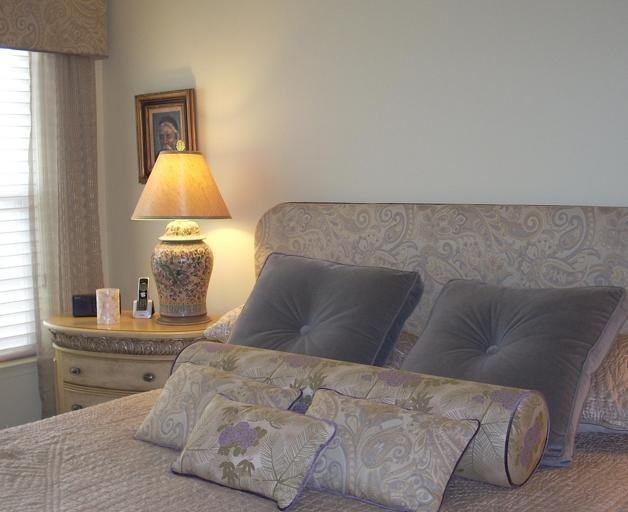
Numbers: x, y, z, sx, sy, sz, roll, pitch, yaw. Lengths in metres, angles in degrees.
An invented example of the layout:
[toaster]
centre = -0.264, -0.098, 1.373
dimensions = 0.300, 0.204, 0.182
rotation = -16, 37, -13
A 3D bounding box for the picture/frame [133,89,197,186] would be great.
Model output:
[picture/frame]
centre = -0.835, -0.689, 2.923
dimensions = 0.610, 0.762, 0.059
rotation = 3, 6, 39

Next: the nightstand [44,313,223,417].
[nightstand]
centre = -0.793, 0.470, 2.257
dimensions = 0.479, 0.494, 0.216
rotation = 2, 5, 19

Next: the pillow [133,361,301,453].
[pillow]
centre = -0.306, 0.481, 1.544
dimensions = 0.396, 0.121, 0.236
rotation = 0, 51, 45

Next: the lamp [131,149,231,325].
[lamp]
centre = -0.699, -0.096, 2.729
dimensions = 0.488, 0.870, 0.494
rotation = 1, 3, -21
